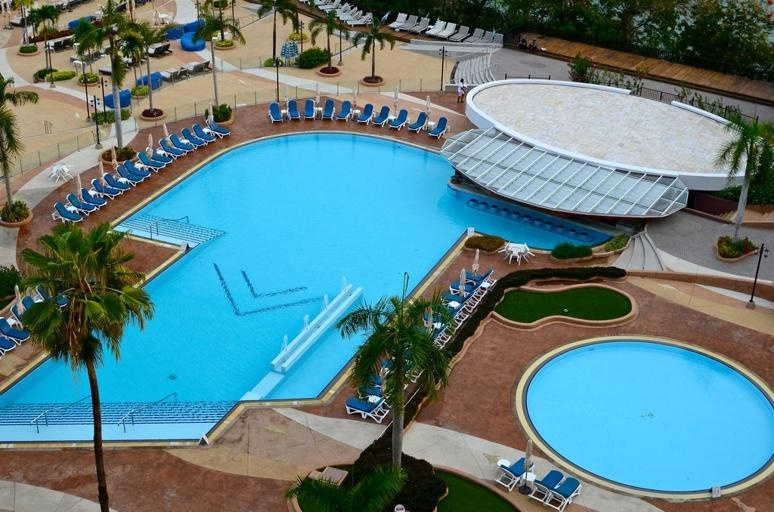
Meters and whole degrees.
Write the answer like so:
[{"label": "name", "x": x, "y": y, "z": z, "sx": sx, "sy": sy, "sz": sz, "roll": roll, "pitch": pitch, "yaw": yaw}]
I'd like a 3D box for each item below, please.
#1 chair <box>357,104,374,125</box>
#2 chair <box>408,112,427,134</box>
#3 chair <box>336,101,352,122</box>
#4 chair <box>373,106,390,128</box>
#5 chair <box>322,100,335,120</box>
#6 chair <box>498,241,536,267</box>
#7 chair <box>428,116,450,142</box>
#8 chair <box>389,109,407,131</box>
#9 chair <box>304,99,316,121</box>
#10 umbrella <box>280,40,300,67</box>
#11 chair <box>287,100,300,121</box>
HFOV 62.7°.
[{"label": "chair", "x": -2.316, "y": -14.524, "z": 64.229, "sx": 1.475, "sy": 1.659, "sz": 2.209, "roll": 13, "pitch": 54, "yaw": 14}, {"label": "chair", "x": 3.079, "y": -13.328, "z": 63.008, "sx": 1.517, "sy": 1.538, "sz": 2.108, "roll": 17, "pitch": 30, "yaw": 22}, {"label": "chair", "x": -4.396, "y": -14.772, "z": 64.688, "sx": 1.295, "sy": 1.656, "sz": 2.260, "roll": 7, "pitch": 42, "yaw": 9}, {"label": "chair", "x": -0.404, "y": -14.028, "z": 63.691, "sx": 1.277, "sy": 1.714, "sz": 2.225, "roll": 18, "pitch": 48, "yaw": 16}, {"label": "chair", "x": -6.095, "y": -14.915, "z": 64.917, "sx": 1.295, "sy": 1.389, "sz": 2.239, "roll": 1, "pitch": 54, "yaw": 0}, {"label": "chair", "x": 9.854, "y": -0.254, "z": 48.883, "sx": 1.964, "sy": 0.939, "sz": 1.951, "roll": 5, "pitch": 36, "yaw": 0}, {"label": "chair", "x": 5.046, "y": -12.778, "z": 62.223, "sx": 1.555, "sy": 1.650, "sz": 2.556, "roll": 23, "pitch": 52, "yaw": 22}, {"label": "chair", "x": 1.095, "y": -13.627, "z": 63.307, "sx": 1.390, "sy": 1.698, "sz": 2.319, "roll": 21, "pitch": 46, "yaw": 20}, {"label": "chair", "x": -7.952, "y": -14.874, "z": 64.697, "sx": 1.412, "sy": 2.006, "sz": 1.935, "roll": -1, "pitch": 47, "yaw": -4}, {"label": "umbrella", "x": -11.637, "y": -23.903, "z": 74.823, "sx": 2.247, "sy": 2.435, "sz": 2.120, "roll": 3, "pitch": 28, "yaw": -3}, {"label": "chair", "x": -9.499, "y": -14.804, "z": 64.192, "sx": 1.313, "sy": 1.345, "sz": 2.002, "roll": -4, "pitch": 51, "yaw": -9}]
